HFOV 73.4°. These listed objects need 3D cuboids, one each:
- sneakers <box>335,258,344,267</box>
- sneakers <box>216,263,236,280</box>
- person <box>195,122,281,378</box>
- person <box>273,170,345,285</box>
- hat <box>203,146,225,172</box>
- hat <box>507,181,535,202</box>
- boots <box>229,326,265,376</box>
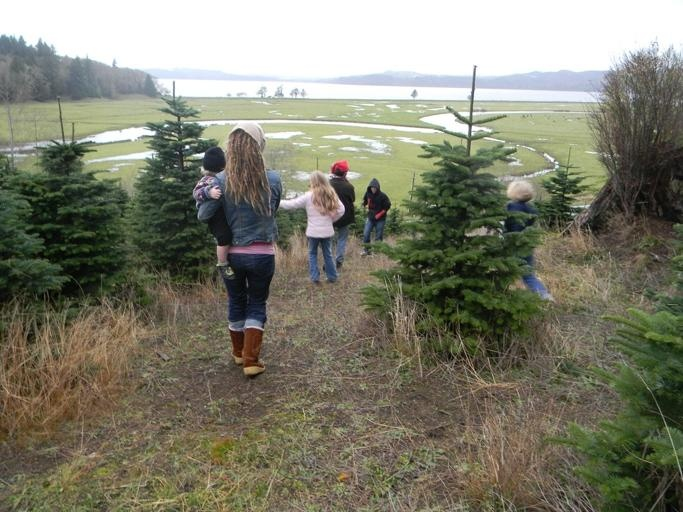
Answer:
[{"bbox_3d":[-0.052,0.129,9.926,0.108,0.177,0.145,-14,26,-39],"label":"sneakers"},{"bbox_3d":[-1.313,0.185,5.456,0.337,0.202,0.100,0,38,6],"label":"sneakers"},{"bbox_3d":[-1.173,-0.092,5.499,0.726,2.911,1.087,2,18,13],"label":"person"},{"bbox_3d":[-0.458,-0.575,8.874,0.999,2.088,1.101,-2,18,0],"label":"person"},{"bbox_3d":[-1.556,-1.196,5.652,0.277,0.283,0.333,1,7,-4],"label":"hat"},{"bbox_3d":[2.811,-1.015,7.212,0.392,0.341,0.331,4,18,18],"label":"hat"},{"bbox_3d":[-1.117,1.118,5.499,0.322,0.474,0.747,-1,6,-8],"label":"boots"}]
